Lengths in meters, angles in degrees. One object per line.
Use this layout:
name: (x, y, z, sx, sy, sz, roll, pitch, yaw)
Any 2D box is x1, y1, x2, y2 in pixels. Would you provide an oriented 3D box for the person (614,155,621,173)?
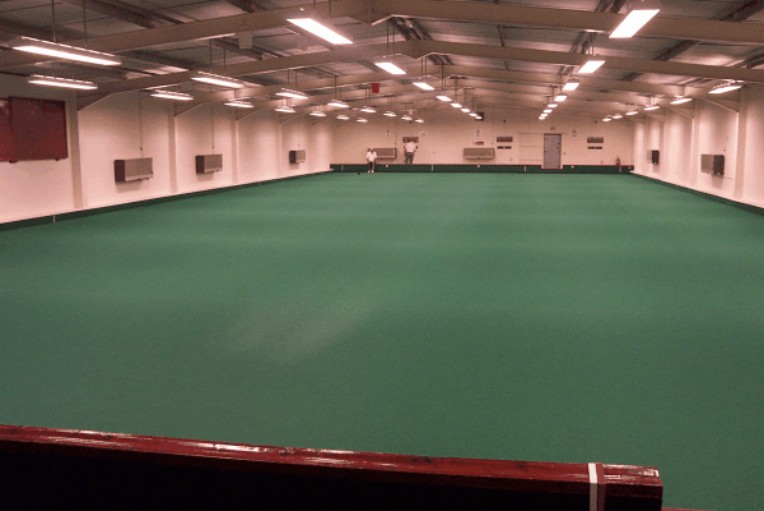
person: (16.441, -6.462, 35.851, 0.408, 1.116, 0.510, 2, 15, 10)

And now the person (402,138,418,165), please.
person: (2.070, -7.774, 37.815, 0.943, 1.896, 1.019, 0, 14, 4)
